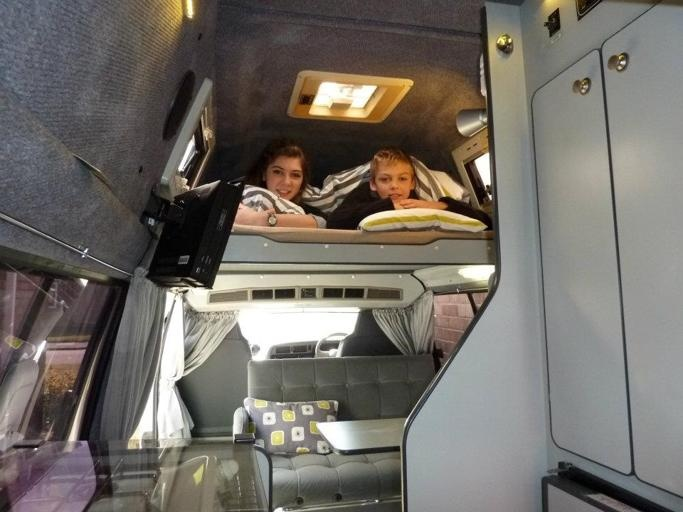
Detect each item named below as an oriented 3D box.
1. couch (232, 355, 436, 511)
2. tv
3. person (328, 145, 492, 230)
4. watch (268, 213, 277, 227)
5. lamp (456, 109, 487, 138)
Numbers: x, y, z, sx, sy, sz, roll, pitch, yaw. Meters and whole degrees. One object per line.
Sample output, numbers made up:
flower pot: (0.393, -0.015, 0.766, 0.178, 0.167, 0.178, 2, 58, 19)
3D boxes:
couch: (0.025, 1.528, 4.289, 2.041, 1.459, 1.094, 1, -23, -7)
tv: (-0.659, -0.101, 2.098, 0.197, 0.494, 0.500, 19, -13, -35)
person: (0.434, -0.569, 3.565, 1.008, 0.488, 1.401, -1, 17, 6)
watch: (-0.381, -0.211, 2.618, 0.057, 0.087, 0.073, 5, 0, -4)
lamp: (0.772, -0.788, 2.739, 0.187, 0.153, 0.151, 6, 0, 32)
